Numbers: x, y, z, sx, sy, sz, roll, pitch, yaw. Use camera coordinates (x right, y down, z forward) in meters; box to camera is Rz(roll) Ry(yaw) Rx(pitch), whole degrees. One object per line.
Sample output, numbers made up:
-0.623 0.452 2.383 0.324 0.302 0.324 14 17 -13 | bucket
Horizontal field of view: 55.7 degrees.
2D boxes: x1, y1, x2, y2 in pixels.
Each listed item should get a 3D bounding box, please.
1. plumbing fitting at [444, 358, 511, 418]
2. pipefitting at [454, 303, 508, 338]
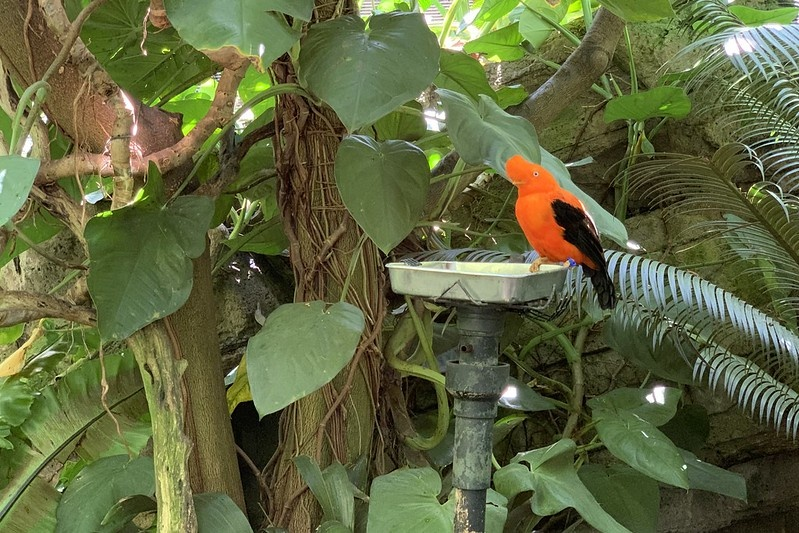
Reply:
0.198 0.298 1.898 0.138 0.111 0.141 1 -3 6 | plumbing fitting
0.210 0.142 1.953 0.131 0.099 0.128 5 -4 -13 | pipefitting
